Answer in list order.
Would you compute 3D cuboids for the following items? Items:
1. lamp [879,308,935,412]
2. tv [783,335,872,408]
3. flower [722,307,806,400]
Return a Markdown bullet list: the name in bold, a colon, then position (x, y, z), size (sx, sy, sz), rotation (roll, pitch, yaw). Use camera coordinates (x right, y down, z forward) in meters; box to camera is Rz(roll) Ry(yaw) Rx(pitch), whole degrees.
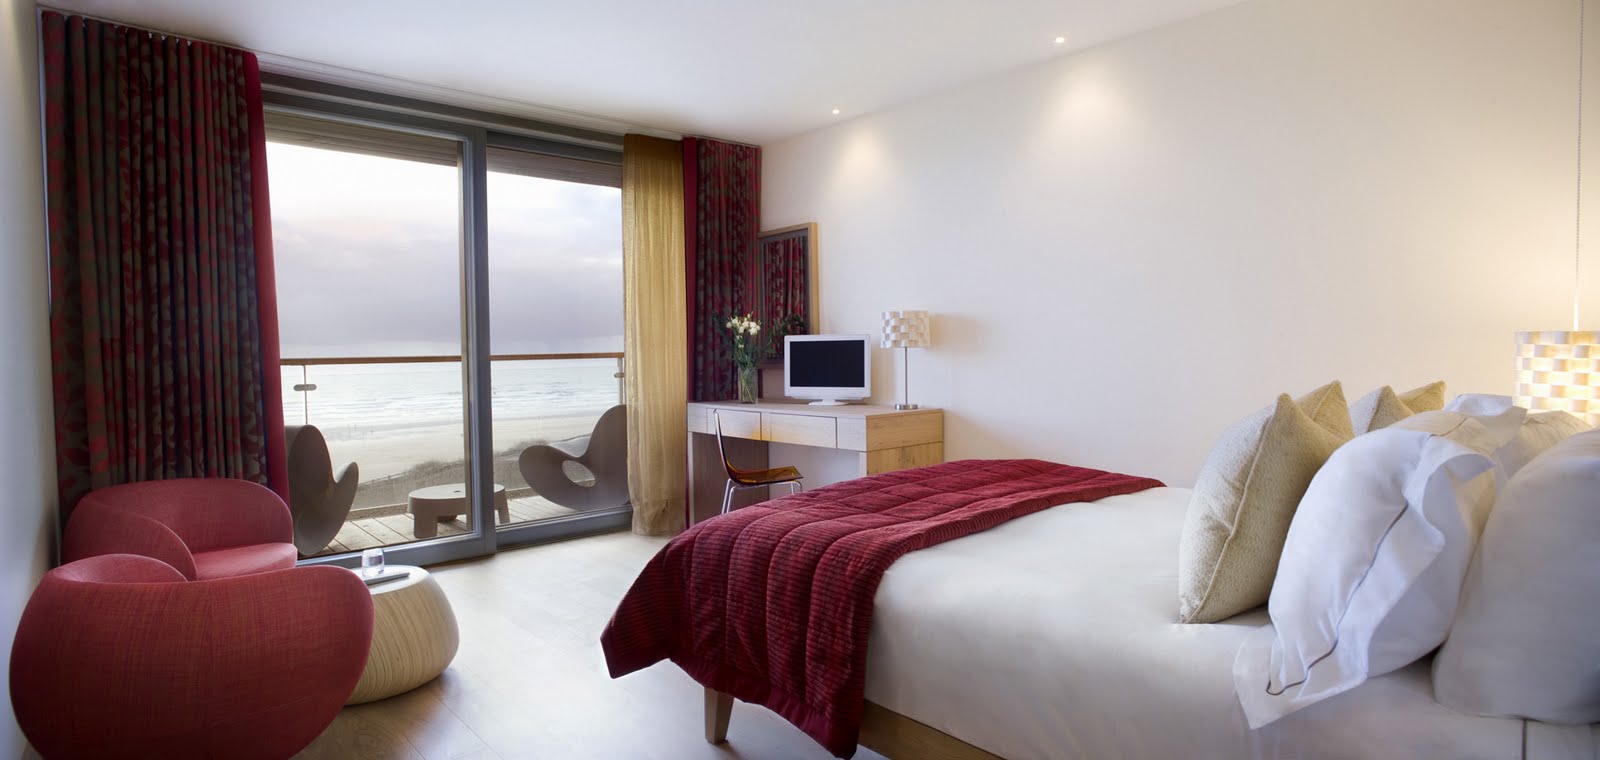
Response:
- **lamp**: position (0.829, -0.171, 6.923), size (0.376, 0.760, 0.317), rotation (1, 6, 28)
- **tv**: position (0.248, -0.085, 7.180), size (0.713, 0.427, 0.194), rotation (-1, -2, 19)
- **flower**: position (-0.407, -0.190, 7.876), size (0.827, 0.775, 0.758), rotation (1, 0, 19)
